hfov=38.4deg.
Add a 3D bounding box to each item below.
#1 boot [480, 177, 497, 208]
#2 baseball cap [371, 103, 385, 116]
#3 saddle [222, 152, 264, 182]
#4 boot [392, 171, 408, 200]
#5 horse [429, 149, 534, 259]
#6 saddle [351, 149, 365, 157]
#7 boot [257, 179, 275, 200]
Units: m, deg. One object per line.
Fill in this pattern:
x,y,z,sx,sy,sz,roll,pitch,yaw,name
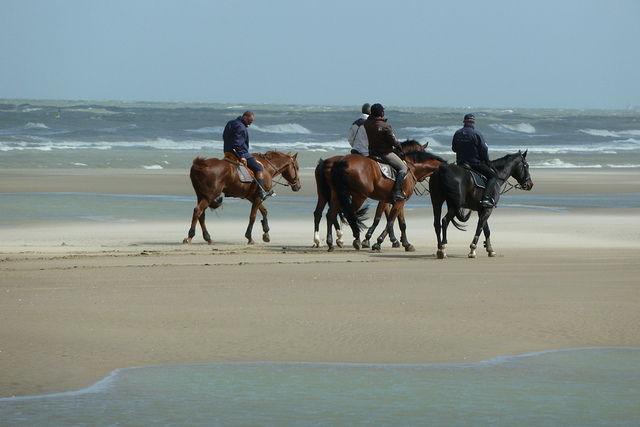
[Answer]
3.418,-0.409,18.458,0.352,0.597,0.178,1,4,-11,boot
1.187,-2.158,19.282,0.243,0.222,0.359,2,4,3,baseball cap
-1.878,-1.030,20.761,0.648,0.658,0.321,1,4,-2,saddle
1.698,-0.574,19.530,0.349,0.591,0.145,-2,5,-38,boot
3.518,-0.105,20.093,3.181,2.315,0.963,1,-6,-36,horse
0.769,-1.302,19.779,0.192,0.130,0.487,-1,5,-30,saddle
-1.277,-0.535,20.994,0.277,0.458,0.393,2,4,12,boot
